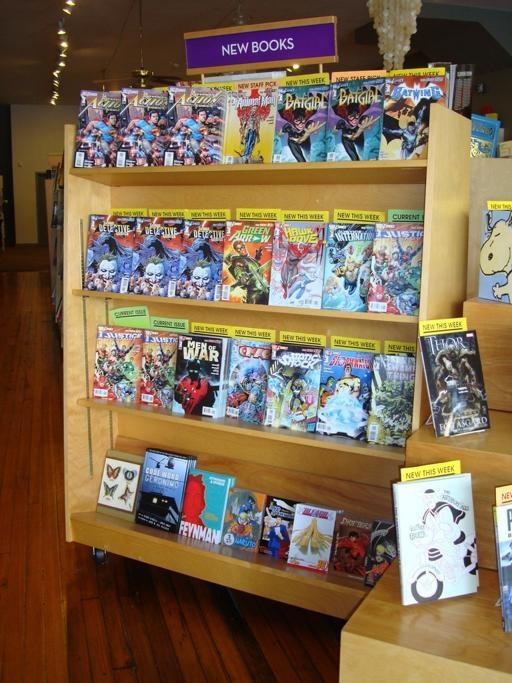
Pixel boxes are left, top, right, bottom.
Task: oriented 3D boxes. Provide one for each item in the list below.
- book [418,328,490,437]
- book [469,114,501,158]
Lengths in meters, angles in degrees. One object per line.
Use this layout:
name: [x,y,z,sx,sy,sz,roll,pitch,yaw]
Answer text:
book: [0.485,0.101,1.325,0.198,0.235,0.103,-4,10,-31]
book: [0.877,-0.796,2.129,0.143,0.184,0.056,6,-4,-16]
